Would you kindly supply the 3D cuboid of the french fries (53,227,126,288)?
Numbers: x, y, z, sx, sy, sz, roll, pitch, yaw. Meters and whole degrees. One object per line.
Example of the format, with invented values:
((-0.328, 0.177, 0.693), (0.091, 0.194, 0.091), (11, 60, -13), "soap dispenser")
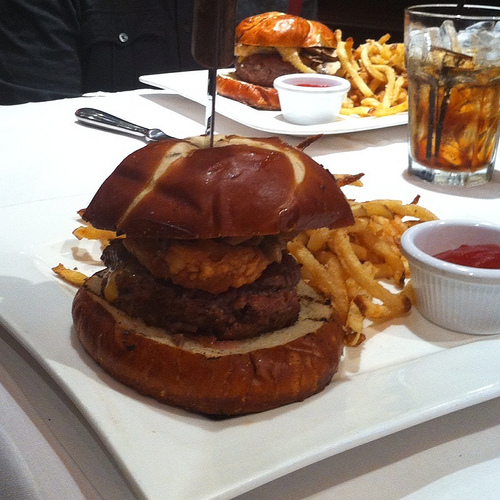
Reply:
((-0.446, 0.019, 1.564), (0.053, 0.226, 0.223), (63, 22, 11), "french fries")

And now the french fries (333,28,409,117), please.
((0.710, -1.006, 3.078), (0.635, 0.279, 0.183), (7, -15, -31), "french fries")
